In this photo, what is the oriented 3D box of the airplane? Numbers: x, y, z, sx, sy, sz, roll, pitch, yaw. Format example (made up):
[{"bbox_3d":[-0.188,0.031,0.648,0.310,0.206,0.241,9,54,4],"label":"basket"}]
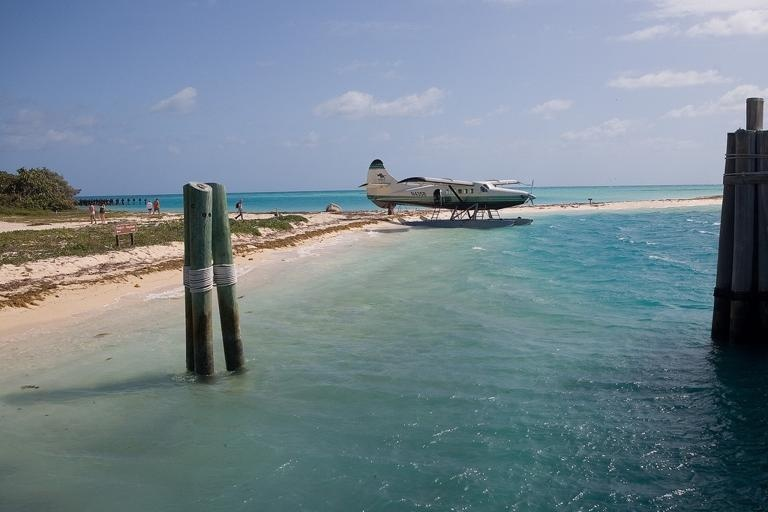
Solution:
[{"bbox_3d":[4.325,-5.304,38.246,11.349,3.511,3.050,8,16,30],"label":"airplane"}]
